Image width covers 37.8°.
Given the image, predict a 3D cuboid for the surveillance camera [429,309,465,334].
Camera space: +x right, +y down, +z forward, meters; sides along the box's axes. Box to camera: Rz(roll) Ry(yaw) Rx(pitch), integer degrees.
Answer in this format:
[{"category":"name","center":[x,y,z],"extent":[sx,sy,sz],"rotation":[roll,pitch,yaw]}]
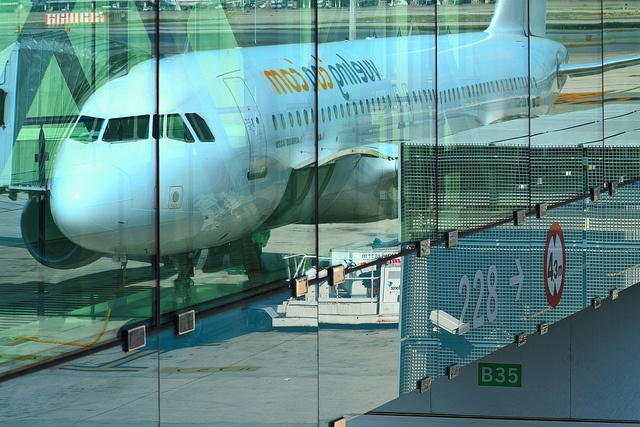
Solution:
[{"category":"surveillance camera","center":[1.333,1.160,9.683],"extent":[0.318,0.145,0.277],"rotation":[21,12,3]}]

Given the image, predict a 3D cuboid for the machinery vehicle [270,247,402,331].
[{"category":"machinery vehicle","center":[0.204,0.713,8.610],"extent":[1.598,0.729,0.493],"rotation":[-3,5,-31]}]
